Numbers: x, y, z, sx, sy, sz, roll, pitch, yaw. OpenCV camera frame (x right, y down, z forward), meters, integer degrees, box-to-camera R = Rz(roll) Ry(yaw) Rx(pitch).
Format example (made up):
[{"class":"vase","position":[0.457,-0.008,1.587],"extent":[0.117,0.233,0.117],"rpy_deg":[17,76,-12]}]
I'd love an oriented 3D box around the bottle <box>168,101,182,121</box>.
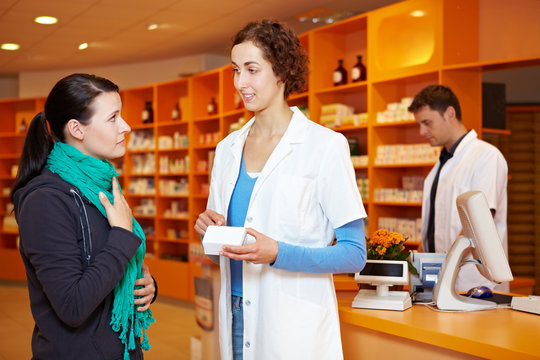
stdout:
[{"class":"bottle","position":[-0.571,-0.428,2.790],"extent":[0.062,0.102,0.025],"rpy_deg":[0,-4,-13]}]

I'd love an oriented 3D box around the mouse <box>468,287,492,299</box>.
[{"class":"mouse","position":[1.013,0.543,2.232],"extent":[0.070,0.024,0.075],"rpy_deg":[-1,-4,0]}]
